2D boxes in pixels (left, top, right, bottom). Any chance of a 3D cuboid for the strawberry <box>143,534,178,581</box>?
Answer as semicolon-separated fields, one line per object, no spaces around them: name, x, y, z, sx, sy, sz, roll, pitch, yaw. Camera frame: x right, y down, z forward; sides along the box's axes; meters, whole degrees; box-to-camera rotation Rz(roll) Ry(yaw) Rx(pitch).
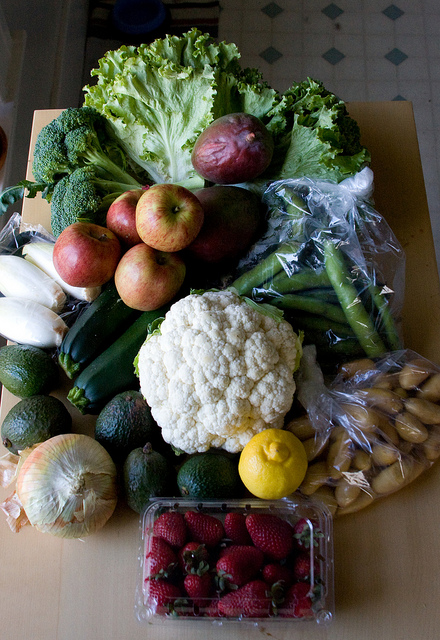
strawberry;-0.086;0.338;0.794;0.052;0.040;0.060;-1;68;2

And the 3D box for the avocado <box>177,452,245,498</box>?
avocado;-0.019;0.241;0.857;0.089;0.050;0.064;-2;68;1

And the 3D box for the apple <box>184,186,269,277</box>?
apple;-0.004;-0.163;1.061;0.133;0.173;0.127;29;44;36

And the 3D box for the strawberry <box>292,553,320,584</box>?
strawberry;0.122;0.354;0.793;0.038;0.018;0.038;3;68;3

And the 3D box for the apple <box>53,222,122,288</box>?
apple;-0.228;-0.112;0.952;0.114;0.096;0.090;-14;68;-4

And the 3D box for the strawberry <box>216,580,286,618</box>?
strawberry;0.041;0.384;0.764;0.091;0.032;0.047;0;68;2

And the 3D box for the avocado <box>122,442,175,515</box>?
avocado;-0.111;0.247;0.882;0.082;0.112;0.082;7;27;23

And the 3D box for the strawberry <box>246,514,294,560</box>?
strawberry;0.071;0.308;0.796;0.070;0.044;0.053;41;79;1

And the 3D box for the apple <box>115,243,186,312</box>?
apple;-0.116;-0.065;0.965;0.110;0.117;0.107;15;46;-38

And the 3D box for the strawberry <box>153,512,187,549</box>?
strawberry;-0.071;0.301;0.804;0.038;0.050;0.030;54;55;-22

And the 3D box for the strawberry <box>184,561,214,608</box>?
strawberry;-0.030;0.364;0.769;0.036;0.033;0.053;-11;99;-4

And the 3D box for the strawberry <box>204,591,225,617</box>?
strawberry;-0.010;0.391;0.764;0.026;0.019;0.031;6;88;5

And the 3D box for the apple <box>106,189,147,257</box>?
apple;-0.164;-0.174;1.007;0.070;0.112;0.071;12;38;17

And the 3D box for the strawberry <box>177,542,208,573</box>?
strawberry;-0.039;0.332;0.772;0.037;0.031;0.029;-17;93;25

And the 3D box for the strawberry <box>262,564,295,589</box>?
strawberry;0.082;0.357;0.783;0.038;0.021;0.028;17;38;18

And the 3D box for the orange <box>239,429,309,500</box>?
orange;0.079;0.219;0.843;0.109;0.117;0.100;12;58;4

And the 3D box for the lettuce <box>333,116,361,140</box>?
lettuce;0.246;-0.367;1.068;0.043;0.027;0.055;-1;75;-25

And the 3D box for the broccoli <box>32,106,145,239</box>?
broccoli;-0.239;-0.275;1.043;0.215;0.159;0.181;29;49;-11

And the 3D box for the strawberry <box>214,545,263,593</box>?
strawberry;0.020;0.342;0.768;0.063;0.033;0.045;-17;67;-16

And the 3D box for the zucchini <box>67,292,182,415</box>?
zucchini;-0.107;0.048;1.025;0.098;0.101;0.343;41;62;12

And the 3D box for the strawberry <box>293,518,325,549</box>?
strawberry;0.127;0.313;0.814;0.042;0.027;0.041;-4;68;0

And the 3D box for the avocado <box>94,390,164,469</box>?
avocado;-0.143;0.177;0.908;0.107;0.078;0.130;1;77;6
